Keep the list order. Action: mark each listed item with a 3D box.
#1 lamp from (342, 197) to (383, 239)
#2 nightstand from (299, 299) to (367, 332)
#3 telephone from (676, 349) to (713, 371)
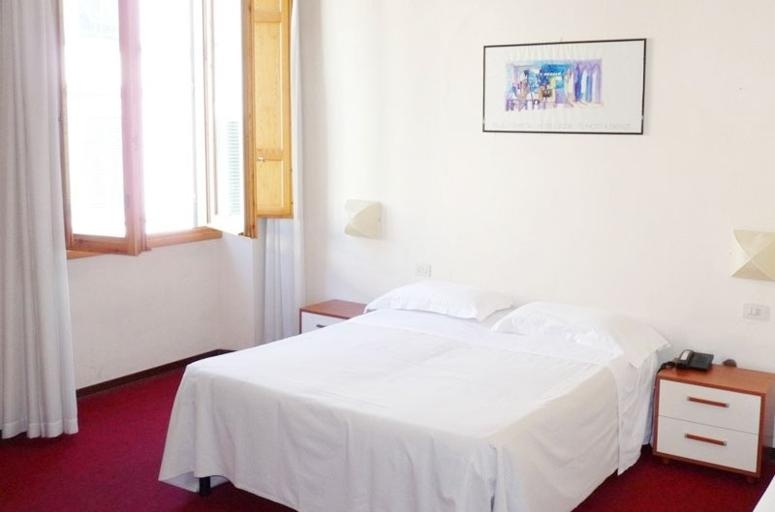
[{"bbox_3d":[-0.224,-0.369,5.295,0.340,0.366,0.129,8,10,16],"label":"lamp"},{"bbox_3d":[-0.515,0.507,5.214,0.412,0.408,0.328,10,13,34],"label":"nightstand"},{"bbox_3d":[2.216,0.751,4.090,0.160,0.044,0.183,4,17,32],"label":"telephone"}]
